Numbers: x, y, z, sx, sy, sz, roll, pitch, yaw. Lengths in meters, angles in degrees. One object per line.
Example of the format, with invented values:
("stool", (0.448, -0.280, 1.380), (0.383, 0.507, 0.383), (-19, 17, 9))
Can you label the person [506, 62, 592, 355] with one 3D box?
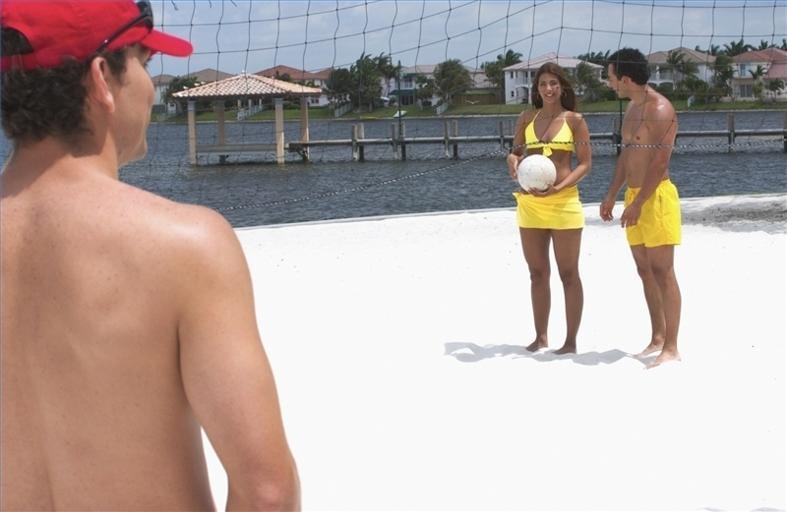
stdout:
("person", (0.943, -0.299, 5.461), (0.453, 1.677, 0.754), (-1, 12, 9))

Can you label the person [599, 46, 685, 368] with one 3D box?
("person", (1.443, -0.343, 5.317), (0.416, 1.698, 0.832), (-1, 12, 10))
